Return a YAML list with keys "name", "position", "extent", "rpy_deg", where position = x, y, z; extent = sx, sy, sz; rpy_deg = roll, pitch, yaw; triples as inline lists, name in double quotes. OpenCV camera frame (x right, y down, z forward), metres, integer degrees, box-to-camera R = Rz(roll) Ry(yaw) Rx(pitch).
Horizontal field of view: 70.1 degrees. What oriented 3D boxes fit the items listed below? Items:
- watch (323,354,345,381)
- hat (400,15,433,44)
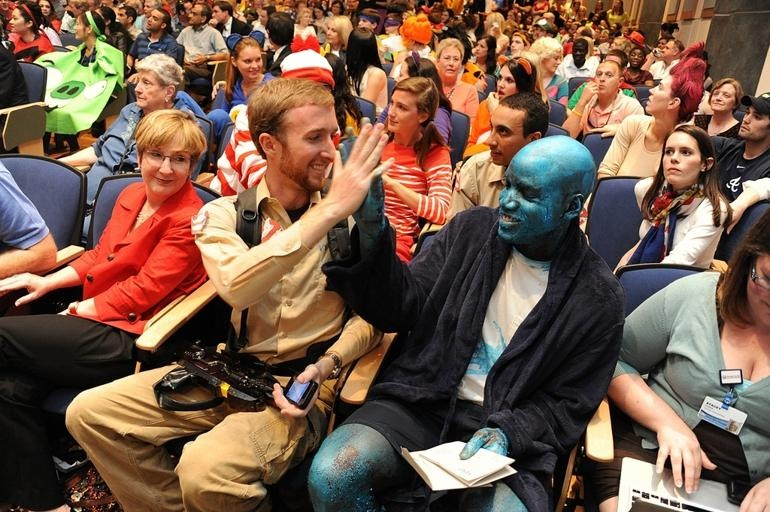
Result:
- name: "watch"
  position: [-0.217, 0.480, 2.382]
  extent: [0.074, 0.117, 0.107]
  rpy_deg: [9, 6, -7]
- name: "hat"
  position: [0.410, -2.944, 7.136]
  extent: [0.319, 0.355, 0.451]
  rpy_deg: [1, 6, -15]
